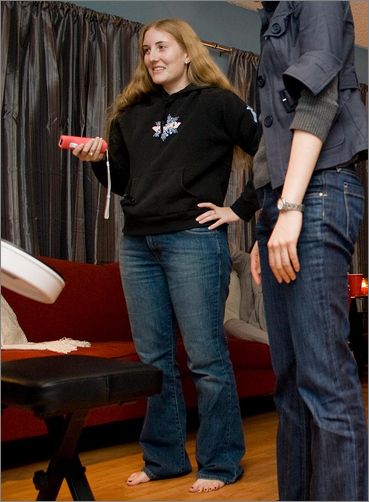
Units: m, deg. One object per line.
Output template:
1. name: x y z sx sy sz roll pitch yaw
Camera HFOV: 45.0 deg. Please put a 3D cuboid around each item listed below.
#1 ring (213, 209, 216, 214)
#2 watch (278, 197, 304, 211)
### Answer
1. ring: 0.090 -0.116 1.322 0.012 0.011 0.003 -1 -9 41
2. watch: 0.171 -0.068 0.722 0.033 0.020 0.033 15 -14 -38
